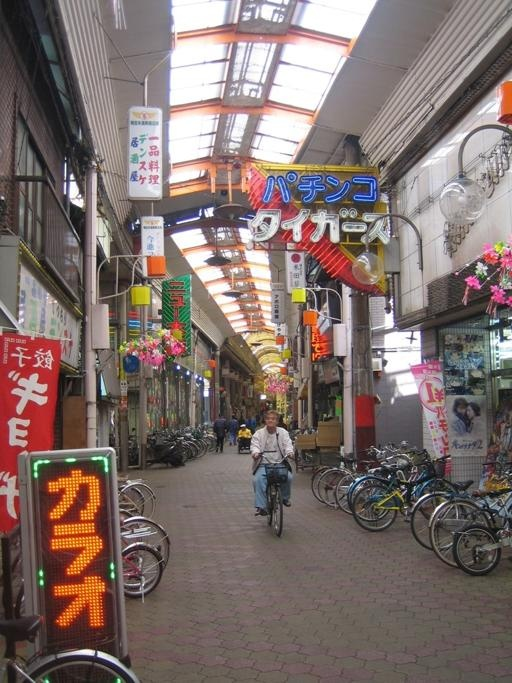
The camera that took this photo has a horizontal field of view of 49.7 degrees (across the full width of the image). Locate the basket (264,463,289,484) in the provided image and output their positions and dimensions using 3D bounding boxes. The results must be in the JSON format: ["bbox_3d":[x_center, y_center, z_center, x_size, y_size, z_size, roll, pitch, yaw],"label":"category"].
[{"bbox_3d":[0.278,1.781,7.641,0.352,0.237,0.205,0,0,2],"label":"basket"}]

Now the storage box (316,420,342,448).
[{"bbox_3d":[2.003,2.603,15.331,0.889,0.850,0.655,0,-7,1],"label":"storage box"}]

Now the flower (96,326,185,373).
[{"bbox_3d":[-3.602,0.210,17.051,1.665,1.018,2.228,-4,10,-10],"label":"flower"}]
